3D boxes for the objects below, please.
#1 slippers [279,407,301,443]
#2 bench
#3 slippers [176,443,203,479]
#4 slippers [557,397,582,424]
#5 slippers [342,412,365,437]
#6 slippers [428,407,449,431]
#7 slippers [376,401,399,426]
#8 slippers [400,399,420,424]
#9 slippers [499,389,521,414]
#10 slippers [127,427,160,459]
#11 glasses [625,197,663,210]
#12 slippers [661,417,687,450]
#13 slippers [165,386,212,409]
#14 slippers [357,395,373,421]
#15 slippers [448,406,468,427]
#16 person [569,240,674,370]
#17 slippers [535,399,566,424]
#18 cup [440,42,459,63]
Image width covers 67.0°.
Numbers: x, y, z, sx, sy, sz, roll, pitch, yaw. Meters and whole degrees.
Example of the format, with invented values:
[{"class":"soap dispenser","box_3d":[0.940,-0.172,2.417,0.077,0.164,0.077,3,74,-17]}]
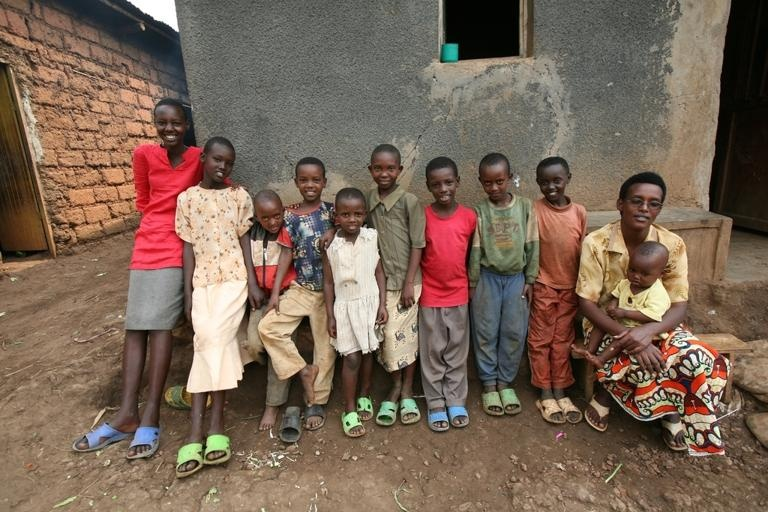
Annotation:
[{"class":"slippers","box_3d":[-0.809,1.442,4.953,0.200,0.232,0.274,-5,13,-9]},{"class":"bench","box_3d":[2.781,1.155,5.375,1.282,0.570,0.604,-2,27,-2]},{"class":"slippers","box_3d":[-1.558,1.634,4.635,0.184,0.109,0.285,-4,49,-2]},{"class":"slippers","box_3d":[1.592,1.336,5.009,0.130,0.088,0.250,-15,26,-15]},{"class":"slippers","box_3d":[-0.262,1.447,4.924,0.139,0.093,0.246,-6,17,-17]},{"class":"slippers","box_3d":[0.468,1.407,4.972,0.179,0.167,0.156,-2,13,3]},{"class":"slippers","box_3d":[0.025,1.367,5.018,0.129,0.090,0.237,2,9,9]},{"class":"slippers","box_3d":[0.228,1.355,5.032,0.179,0.186,0.159,-3,13,1]},{"class":"slippers","box_3d":[1.100,1.280,5.047,0.133,0.083,0.231,-7,22,-3]},{"class":"slippers","box_3d":[-1.972,1.544,4.753,0.161,0.127,0.310,-1,1,0]},{"class":"glasses","box_3d":[2.119,-0.424,4.728,0.256,0.096,0.075,2,14,19]},{"class":"slippers","box_3d":[2.368,1.463,4.729,0.117,0.080,0.273,-9,47,13]},{"class":"slippers","box_3d":[-1.696,1.251,5.087,0.417,0.194,0.138,4,-9,-9]},{"class":"slippers","box_3d":[-0.166,1.341,5.049,0.108,0.084,0.217,-1,15,-1]},{"class":"slippers","box_3d":[0.639,1.386,4.981,0.121,0.071,0.202,-3,16,-4]},{"class":"person","box_3d":[2.019,0.412,4.800,0.885,0.981,0.604,-23,33,-28]},{"class":"slippers","box_3d":[1.441,1.344,4.973,0.133,0.093,0.237,-9,24,-13]},{"class":"cup","box_3d":[0.604,-1.892,5.431,0.209,0.179,0.199,1,19,0]}]
